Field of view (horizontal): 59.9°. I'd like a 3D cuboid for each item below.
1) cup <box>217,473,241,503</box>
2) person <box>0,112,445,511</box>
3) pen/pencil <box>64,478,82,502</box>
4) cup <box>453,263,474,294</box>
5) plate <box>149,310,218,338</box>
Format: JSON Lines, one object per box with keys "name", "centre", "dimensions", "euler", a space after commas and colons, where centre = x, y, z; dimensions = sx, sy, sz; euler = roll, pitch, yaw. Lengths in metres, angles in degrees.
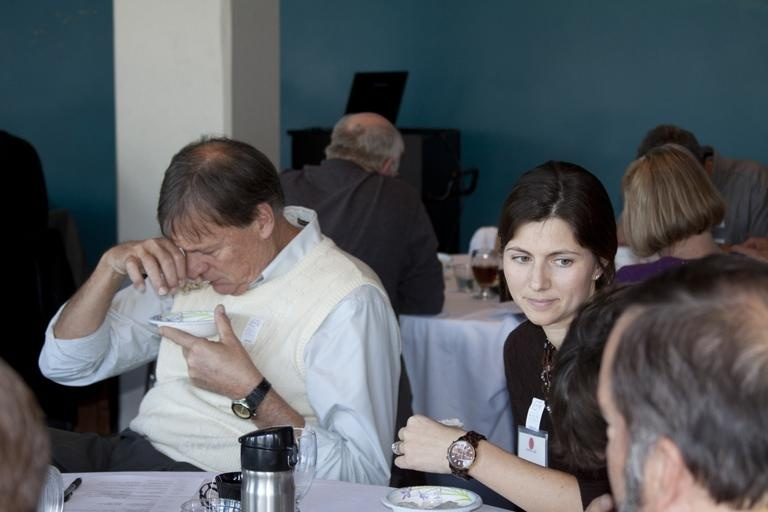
{"name": "cup", "centre": [-0.299, 0.459, 1.296], "dimensions": [0.049, 0.044, 0.057], "euler": [1, -11, 0]}
{"name": "person", "centre": [-0.475, 0.230, 2.213], "dimensions": [1.032, 1.385, 1.031], "euler": [9, -1, -44]}
{"name": "pen/pencil", "centre": [-0.651, 0.506, 1.405], "dimensions": [0.010, 0.013, 0.045], "euler": [24, 32, -1]}
{"name": "cup", "centre": [0.396, 0.115, 3.342], "dimensions": [0.114, 0.125, 0.124], "euler": [-2, 5, 0]}
{"name": "plate", "centre": [-0.563, 0.181, 1.885], "dimensions": [0.172, 0.063, 0.317], "euler": [0, 9, -16]}
